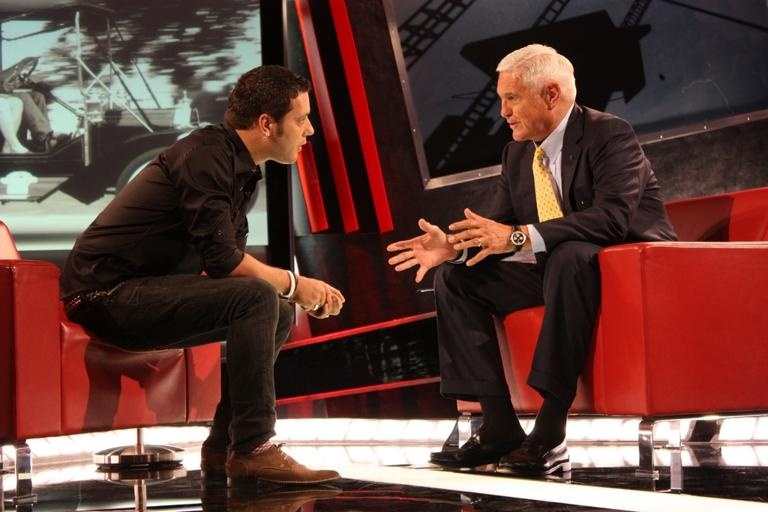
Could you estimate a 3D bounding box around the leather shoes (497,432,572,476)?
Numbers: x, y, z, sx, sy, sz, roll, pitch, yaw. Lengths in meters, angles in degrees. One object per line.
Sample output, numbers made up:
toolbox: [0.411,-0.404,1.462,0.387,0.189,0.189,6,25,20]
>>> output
leather shoes: [0.550,0.721,2.814,0.338,0.115,0.192,5,-10,-39]

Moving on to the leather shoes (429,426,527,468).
leather shoes: [0.347,0.713,2.944,0.372,0.125,0.126,-5,-6,0]

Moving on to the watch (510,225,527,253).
watch: [0.502,-0.071,2.955,0.068,0.089,0.090,0,0,-4]
